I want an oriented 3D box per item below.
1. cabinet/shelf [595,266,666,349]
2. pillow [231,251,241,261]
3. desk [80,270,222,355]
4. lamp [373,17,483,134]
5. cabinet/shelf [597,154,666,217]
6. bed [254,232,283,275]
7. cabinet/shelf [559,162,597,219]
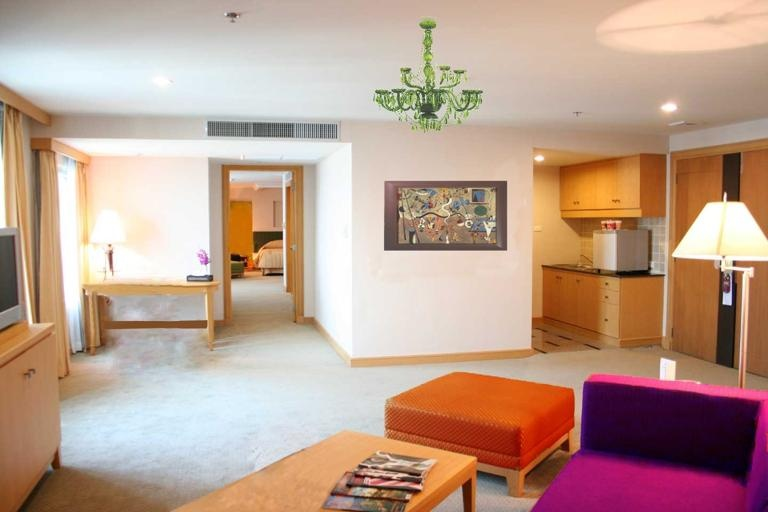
[{"bbox_3d":[3.568,0.704,7.474,0.976,1.244,0.981,1,1,-3],"label":"cabinet/shelf"},{"bbox_3d":[-4.389,0.023,15.849,0.283,0.214,0.273,-6,9,-24],"label":"pillow"},{"bbox_3d":[-3.158,0.761,7.303,1.753,0.945,1.073,-1,5,-13],"label":"desk"},{"bbox_3d":[0.330,-1.360,4.329,0.866,0.683,0.843,5,9,24],"label":"lamp"},{"bbox_3d":[3.403,-0.969,7.324,0.467,0.817,0.894,1,1,-7],"label":"cabinet/shelf"},{"bbox_3d":[-3.365,-0.067,15.869,1.129,0.837,1.448,0,1,-15],"label":"bed"},{"bbox_3d":[2.931,-1.007,8.113,0.304,0.796,0.891,1,0,-17],"label":"cabinet/shelf"}]
